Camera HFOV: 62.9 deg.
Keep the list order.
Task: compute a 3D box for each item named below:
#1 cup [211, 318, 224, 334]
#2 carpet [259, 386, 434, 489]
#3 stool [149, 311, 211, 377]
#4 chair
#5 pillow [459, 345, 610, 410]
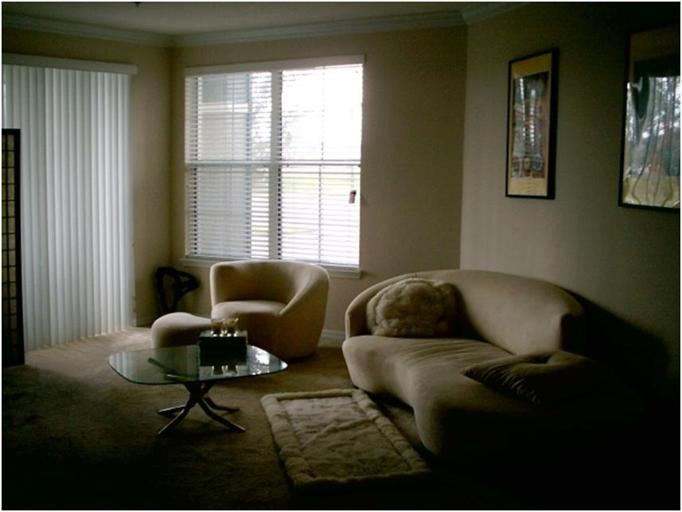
[{"bbox_3d":[-0.909,0.518,4.124,0.096,0.101,0.094,2,7,0],"label":"cup"},{"bbox_3d":[-0.036,1.168,3.792,0.813,0.138,1.324,-3,10,-15],"label":"carpet"},{"bbox_3d":[-1.338,0.692,4.593,0.402,0.340,0.384,2,6,33],"label":"stool"},{"bbox_3d":[-0.720,0.514,5.329,1.105,0.855,1.025,5,6,26],"label":"chair"},{"bbox_3d":[1.131,0.692,3.239,0.404,0.107,0.378,-7,7,-21],"label":"pillow"}]
